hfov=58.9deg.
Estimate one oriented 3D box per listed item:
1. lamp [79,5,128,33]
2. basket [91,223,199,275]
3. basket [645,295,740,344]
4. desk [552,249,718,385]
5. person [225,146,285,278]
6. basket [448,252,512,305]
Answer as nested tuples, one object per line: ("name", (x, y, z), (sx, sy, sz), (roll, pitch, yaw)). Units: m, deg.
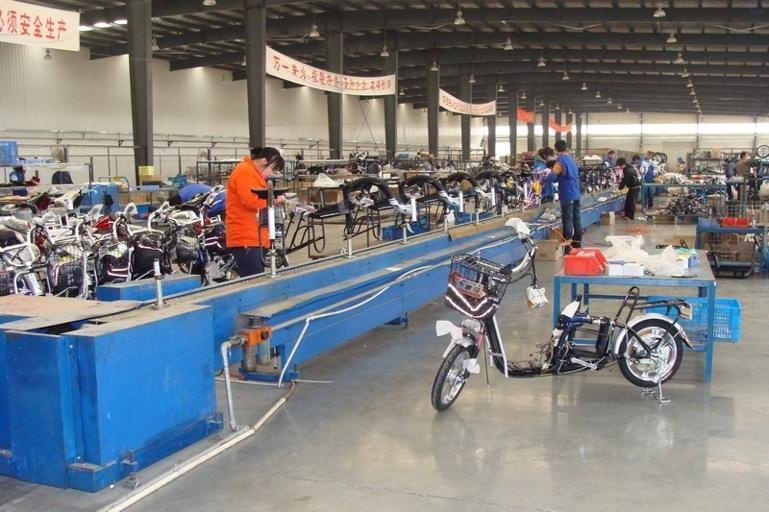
("lamp", (-6.970, -5.780, 16.720), (1.046, 0.390, 2.691), (-5, 9, -22))
("basket", (-2.281, -0.048, 6.350), (0.446, 0.416, 0.669), (-5, -2, 40))
("basket", (2.553, 0.519, 5.672), (0.689, 0.256, 0.438), (1, 6, 19))
("desk", (2.064, 0.422, 5.941), (1.434, 0.928, 1.379), (1, 5, 21))
("person", (-1.132, -0.364, 5.920), (0.494, 1.128, 0.748), (-5, 9, -19))
("basket", (0.686, 0.154, 4.915), (0.422, 0.318, 0.155), (12, 11, 25))
